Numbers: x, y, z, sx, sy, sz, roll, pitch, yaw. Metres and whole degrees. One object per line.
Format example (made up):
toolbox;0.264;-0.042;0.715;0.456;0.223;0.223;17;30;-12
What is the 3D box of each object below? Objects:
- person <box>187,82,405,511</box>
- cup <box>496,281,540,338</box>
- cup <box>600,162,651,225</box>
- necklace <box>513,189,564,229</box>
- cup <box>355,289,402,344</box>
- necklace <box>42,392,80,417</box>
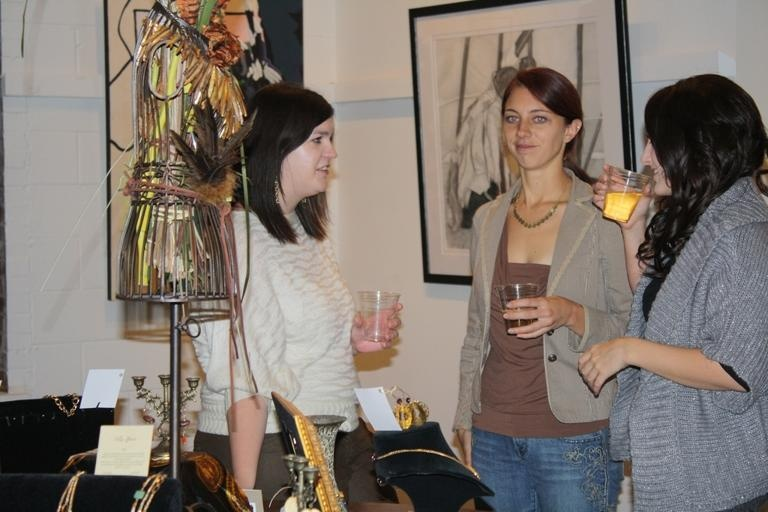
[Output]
person;-0.325;0.133;2.560;0.679;1.540;0.422;-2;-2;-44
cup;0.496;0.203;2.565;0.159;0.168;0.163;-1;-2;0
cup;0.906;-0.234;2.660;0.175;0.199;0.175;11;19;-4
necklace;0.613;-0.169;2.798;0.026;0.121;0.187;35;-4;-30
cup;-0.028;0.215;2.693;0.146;0.168;0.141;3;2;0
necklace;-1.214;0.559;2.675;0.133;0.056;0.170;10;9;-30
